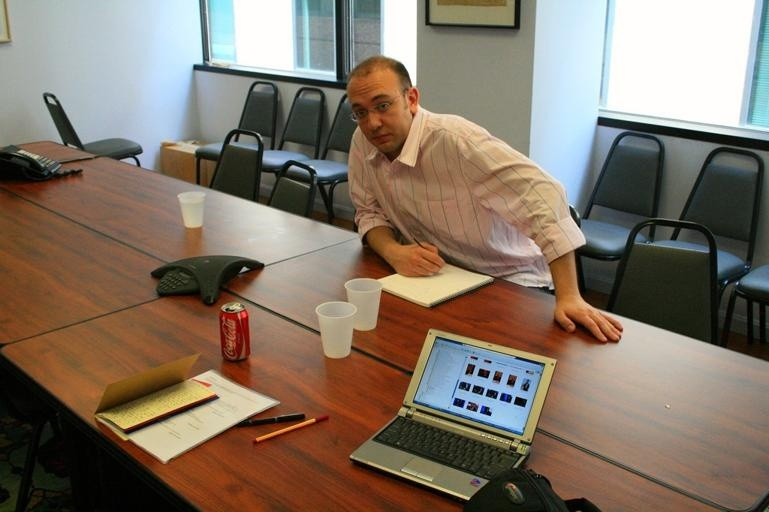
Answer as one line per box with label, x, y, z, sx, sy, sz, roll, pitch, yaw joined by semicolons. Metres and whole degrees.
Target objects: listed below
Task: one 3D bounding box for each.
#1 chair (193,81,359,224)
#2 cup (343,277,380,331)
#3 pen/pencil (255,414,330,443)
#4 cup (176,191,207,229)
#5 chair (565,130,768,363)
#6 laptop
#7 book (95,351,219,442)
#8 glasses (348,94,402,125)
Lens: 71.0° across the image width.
chair;-0.818;-0.847;4.356;1.412;1.074;0.596;19;30;31
cup;-0.070;0.164;1.911;0.160;0.169;0.162;-1;13;0
pen/pencil;-0.252;0.474;1.476;0.156;0.016;0.015;-15;39;-29
cup;-0.923;-0.235;2.649;0.175;0.177;0.171;-1;11;0
chair;1.589;-0.096;2.896;1.059;1.132;0.792;18;33;40
laptop;0.211;0.423;1.423;0.403;0.220;0.427;17;36;34
book;-0.647;0.407;1.550;0.205;0.130;0.270;21;31;38
glasses;-0.068;-0.618;2.259;0.229;0.121;0.098;18;27;30
